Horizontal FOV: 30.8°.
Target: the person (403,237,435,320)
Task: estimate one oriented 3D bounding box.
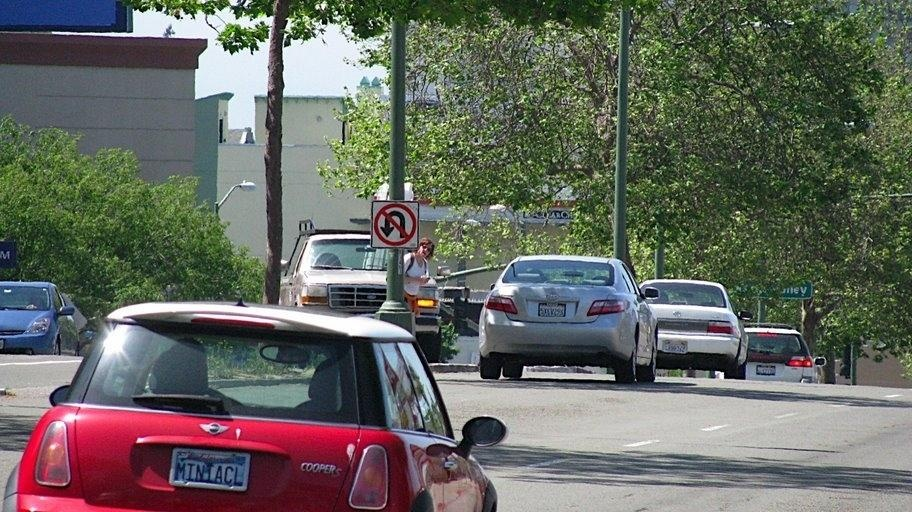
[{"bbox_3d":[-1.094,0.650,50.826,0.774,2.416,0.746,-14,0,16],"label":"person"}]
